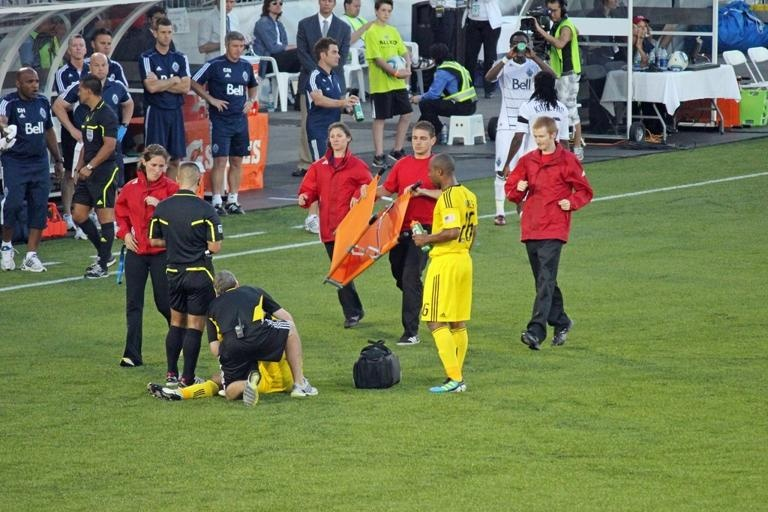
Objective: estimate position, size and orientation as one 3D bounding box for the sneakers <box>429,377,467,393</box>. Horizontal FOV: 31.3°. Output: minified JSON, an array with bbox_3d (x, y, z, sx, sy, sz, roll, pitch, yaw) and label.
[{"bbox_3d":[0.679,1.344,14.288,0.404,0.170,0.144,0,4,-3],"label":"sneakers"}]

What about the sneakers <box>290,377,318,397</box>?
[{"bbox_3d":[-0.782,1.369,14.202,0.308,0.175,0.136,-5,9,-44],"label":"sneakers"}]

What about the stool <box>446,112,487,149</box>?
[{"bbox_3d":[1.537,-2.450,26.675,0.658,0.516,0.662,4,17,27],"label":"stool"}]

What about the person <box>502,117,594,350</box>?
[{"bbox_3d":[1.854,-0.265,15.354,0.908,2.583,0.761,-2,4,-6],"label":"person"}]

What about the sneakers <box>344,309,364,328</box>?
[{"bbox_3d":[-0.351,0.750,16.131,0.114,0.123,0.312,-1,17,22],"label":"sneakers"}]

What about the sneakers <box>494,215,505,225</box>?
[{"bbox_3d":[1.702,-0.521,20.075,0.154,0.137,0.333,0,1,3],"label":"sneakers"}]

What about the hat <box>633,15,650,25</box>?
[{"bbox_3d":[5.123,-4.720,27.326,0.248,0.096,0.174,-6,12,-5],"label":"hat"}]

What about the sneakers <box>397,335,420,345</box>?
[{"bbox_3d":[0.292,0.957,15.548,0.215,0.129,0.103,1,5,-8],"label":"sneakers"}]

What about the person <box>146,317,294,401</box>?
[{"bbox_3d":[-1.591,1.126,14.237,1.521,0.665,0.607,-8,6,-28],"label":"person"}]

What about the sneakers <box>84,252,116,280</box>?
[{"bbox_3d":[-3.699,0.139,18.088,0.191,0.219,0.530,14,17,26],"label":"sneakers"}]

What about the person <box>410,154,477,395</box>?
[{"bbox_3d":[0.664,0.171,14.352,0.532,2.460,0.569,-1,4,19],"label":"person"}]

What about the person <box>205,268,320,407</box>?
[{"bbox_3d":[-1.252,0.883,14.229,1.132,1.012,1.927,-8,18,-21],"label":"person"}]

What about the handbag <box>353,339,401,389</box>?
[{"bbox_3d":[-0.055,1.124,14.489,0.516,0.448,0.490,-3,2,-19],"label":"handbag"}]

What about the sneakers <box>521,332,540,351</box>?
[{"bbox_3d":[1.635,0.940,15.115,0.126,0.133,0.273,33,-2,37],"label":"sneakers"}]

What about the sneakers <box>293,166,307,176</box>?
[{"bbox_3d":[-1.414,-1.441,23.581,0.111,0.128,0.309,3,2,37],"label":"sneakers"}]

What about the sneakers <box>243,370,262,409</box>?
[{"bbox_3d":[-1.326,1.356,13.933,0.153,0.345,0.143,6,3,-9],"label":"sneakers"}]

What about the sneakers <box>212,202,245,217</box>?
[{"bbox_3d":[-2.383,-0.726,21.258,0.594,0.249,0.213,0,9,-1],"label":"sneakers"}]

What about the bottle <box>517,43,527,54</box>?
[{"bbox_3d":[2.020,-3.070,20.117,0.106,0.162,0.159,2,6,43],"label":"bottle"}]
